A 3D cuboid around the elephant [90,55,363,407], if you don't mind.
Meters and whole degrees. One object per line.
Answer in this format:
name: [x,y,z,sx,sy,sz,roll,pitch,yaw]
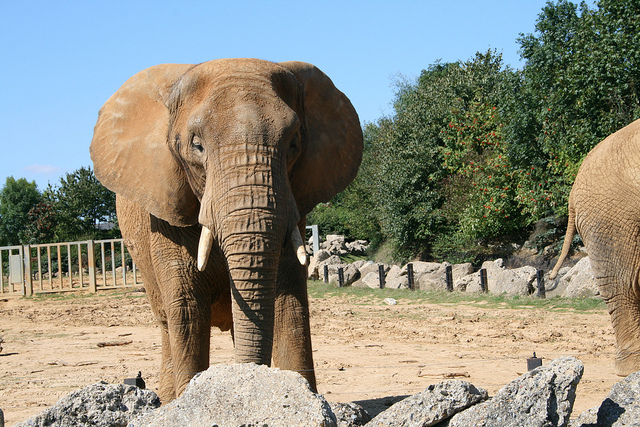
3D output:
elephant: [-2.014,0.150,19.513,4.901,7.055,7.050,1,-3,-5]
